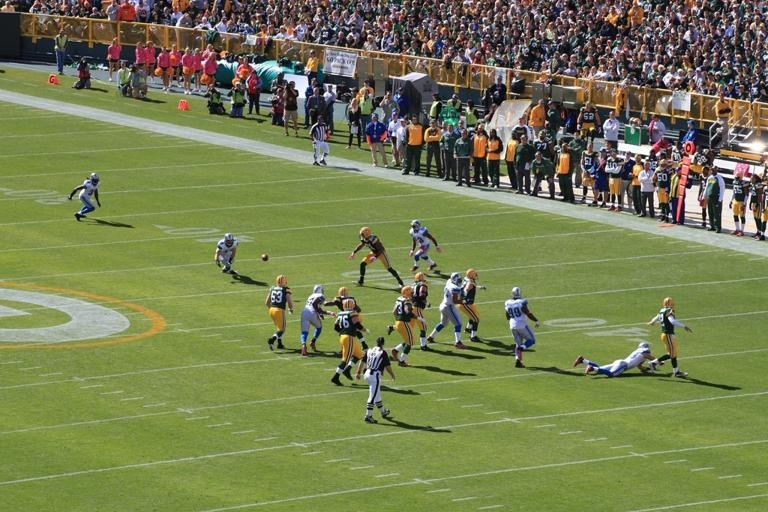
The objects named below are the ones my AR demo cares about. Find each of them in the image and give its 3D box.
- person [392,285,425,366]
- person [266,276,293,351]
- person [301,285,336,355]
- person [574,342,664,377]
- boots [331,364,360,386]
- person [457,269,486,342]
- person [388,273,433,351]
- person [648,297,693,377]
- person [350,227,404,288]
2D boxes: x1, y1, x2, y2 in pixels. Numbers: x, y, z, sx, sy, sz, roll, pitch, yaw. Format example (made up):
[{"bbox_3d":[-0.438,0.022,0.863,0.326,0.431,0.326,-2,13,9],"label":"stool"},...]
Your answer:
[{"bbox_3d":[0.490,1.750,40.774,0.614,1.994,0.622,8,8,0],"label":"person"},{"bbox_3d":[-2.897,1.421,41.553,0.935,1.777,0.940,3,-5,-14],"label":"person"},{"bbox_3d":[-1.779,1.576,41.381,1.078,1.636,0.774,7,-3,-10],"label":"person"},{"bbox_3d":[5.961,2.578,40.509,2.087,0.909,0.980,4,7,-2],"label":"person"},{"bbox_3d":[-1.087,2.888,39.553,0.687,0.558,0.550,-11,12,-8],"label":"boots"},{"bbox_3d":[2.318,1.233,42.388,0.791,1.914,1.363,2,17,5],"label":"person"},{"bbox_3d":[0.692,1.385,41.588,1.270,1.626,0.860,4,-3,-3],"label":"person"},{"bbox_3d":[7.329,2.024,40.468,1.274,1.971,0.981,-3,-3,3],"label":"person"},{"bbox_3d":[-0.443,-0.080,46.151,1.829,1.888,1.155,3,1,-33],"label":"person"}]
